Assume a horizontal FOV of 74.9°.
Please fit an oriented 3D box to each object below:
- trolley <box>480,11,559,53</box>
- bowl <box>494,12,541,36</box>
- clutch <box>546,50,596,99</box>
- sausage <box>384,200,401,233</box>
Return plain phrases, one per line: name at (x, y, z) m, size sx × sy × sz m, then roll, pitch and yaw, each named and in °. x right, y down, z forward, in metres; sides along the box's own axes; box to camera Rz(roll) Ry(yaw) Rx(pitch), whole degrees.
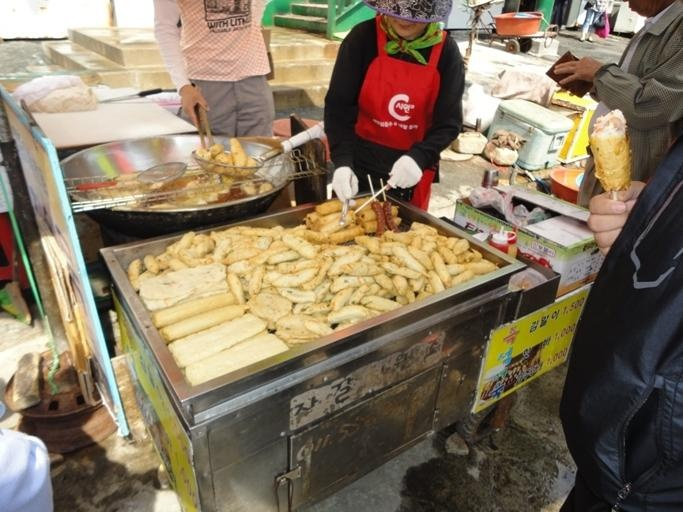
trolley at (4.998, -6.695, 14.196) m, size 2.969 × 1.141 × 1.987 m, roll 10°, pitch 46°, yaw 21°
bowl at (5.158, -6.882, 13.257) m, size 1.146 × 0.401 × 0.942 m, roll 7°, pitch 36°, yaw 22°
clutch at (1.787, -1.406, 3.521) m, size 0.401 × 0.373 × 0.271 m, roll 9°, pitch 24°, yaw 22°
sausage at (0.322, -0.258, 2.895) m, size 0.111 × 0.213 × 0.065 m, roll -17°, pitch -7°, yaw -44°
